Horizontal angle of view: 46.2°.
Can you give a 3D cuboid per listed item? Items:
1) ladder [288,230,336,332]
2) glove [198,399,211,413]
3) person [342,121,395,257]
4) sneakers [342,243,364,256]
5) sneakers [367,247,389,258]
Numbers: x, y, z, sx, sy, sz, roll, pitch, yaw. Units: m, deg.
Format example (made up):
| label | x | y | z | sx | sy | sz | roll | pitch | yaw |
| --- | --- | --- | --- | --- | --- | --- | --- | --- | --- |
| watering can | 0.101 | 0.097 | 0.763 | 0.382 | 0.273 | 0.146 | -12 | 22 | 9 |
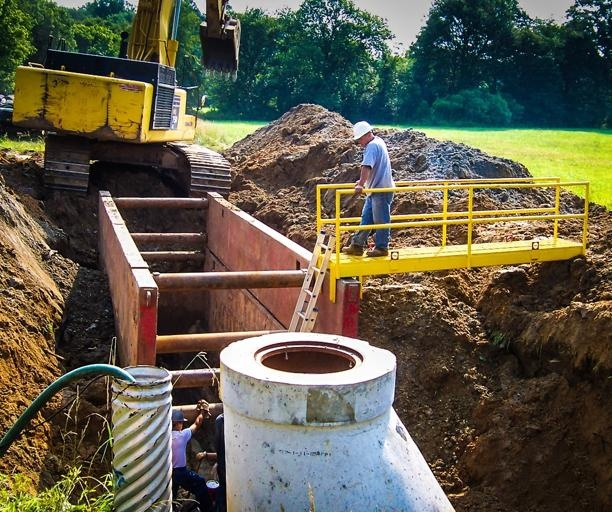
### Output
| label | x | y | z | sx | sy | sz | roll | pitch | yaw |
| --- | --- | --- | --- | --- | --- | --- | --- | --- | --- |
| ladder | 0.082 | 0.321 | 8.541 | 0.479 | 1.259 | 0.973 | 3 | 7 | 1 |
| glove | -1.099 | 1.591 | 7.763 | 0.161 | 0.122 | 0.233 | -5 | -21 | -11 |
| person | 0.869 | -0.891 | 9.360 | 0.584 | 1.757 | 1.526 | 3 | 8 | 4 |
| sneakers | 0.608 | -0.085 | 9.222 | 0.233 | 0.189 | 0.128 | 11 | 12 | 14 |
| sneakers | 0.925 | -0.038 | 9.122 | 0.263 | 0.134 | 0.110 | 0 | 25 | -2 |
